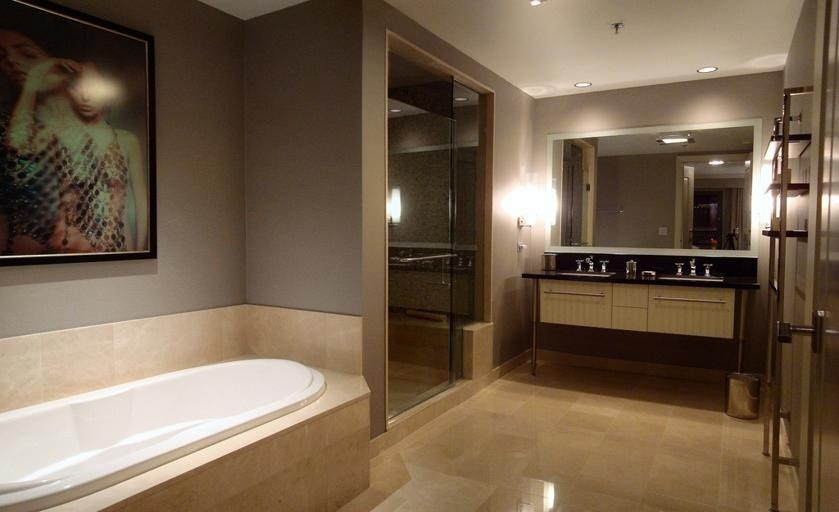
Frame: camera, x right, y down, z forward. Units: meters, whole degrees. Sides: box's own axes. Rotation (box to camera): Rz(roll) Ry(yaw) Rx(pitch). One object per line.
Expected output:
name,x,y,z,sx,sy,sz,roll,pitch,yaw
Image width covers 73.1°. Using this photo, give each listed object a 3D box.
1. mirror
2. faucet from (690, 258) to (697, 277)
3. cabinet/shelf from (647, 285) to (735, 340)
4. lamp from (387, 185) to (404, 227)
mirror,2.607,-0.734,6.072,1.584,1.068,0.038,1,3,27
faucet,2.863,0.110,5.916,0.075,0.172,0.130,3,5,25
cabinet/shelf,2.682,0.384,5.544,0.772,0.485,0.516,1,2,25
lamp,-0.214,-0.425,4.794,0.077,0.329,0.262,2,5,17
